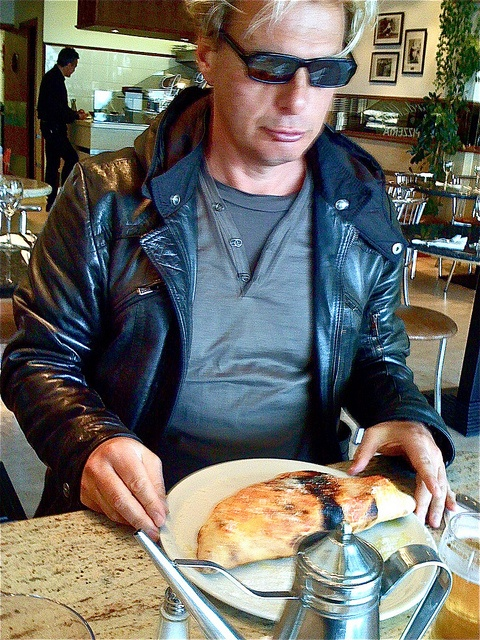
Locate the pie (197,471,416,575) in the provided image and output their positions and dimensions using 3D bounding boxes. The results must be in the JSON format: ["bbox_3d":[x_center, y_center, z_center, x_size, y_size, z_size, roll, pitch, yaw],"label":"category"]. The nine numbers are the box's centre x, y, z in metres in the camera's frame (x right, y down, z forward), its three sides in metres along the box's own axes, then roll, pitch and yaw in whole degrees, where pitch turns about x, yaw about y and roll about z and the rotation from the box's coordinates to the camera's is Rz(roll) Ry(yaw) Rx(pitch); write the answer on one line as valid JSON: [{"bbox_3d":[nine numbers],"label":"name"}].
[{"bbox_3d":[0.075,0.204,0.587,0.253,0.043,0.134,-4,14,-33],"label":"pie"}]

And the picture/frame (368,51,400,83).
[{"bbox_3d":[2.138,-3.770,7.595,0.047,0.574,0.579,-2,14,-39],"label":"picture/frame"}]

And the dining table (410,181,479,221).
[{"bbox_3d":[2.259,-1.345,5.706,0.798,0.280,0.776,2,27,-2],"label":"dining table"}]
